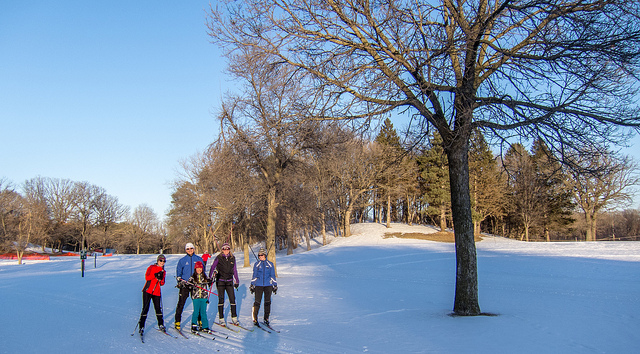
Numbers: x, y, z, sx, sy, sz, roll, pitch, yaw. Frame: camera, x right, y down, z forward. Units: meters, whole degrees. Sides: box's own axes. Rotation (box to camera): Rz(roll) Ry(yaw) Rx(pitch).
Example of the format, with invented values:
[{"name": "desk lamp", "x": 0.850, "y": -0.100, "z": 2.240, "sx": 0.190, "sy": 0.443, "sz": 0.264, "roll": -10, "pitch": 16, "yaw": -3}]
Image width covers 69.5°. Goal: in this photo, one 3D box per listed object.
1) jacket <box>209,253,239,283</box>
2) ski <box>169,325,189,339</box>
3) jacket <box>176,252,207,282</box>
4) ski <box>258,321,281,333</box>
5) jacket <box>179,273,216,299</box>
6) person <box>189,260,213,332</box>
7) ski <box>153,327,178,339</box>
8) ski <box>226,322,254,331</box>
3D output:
[{"name": "jacket", "x": -5.083, "y": 4.829, "z": 24.507, "sx": 1.858, "sy": 1.661, "sz": 0.723, "roll": 7, "pitch": -23, "yaw": -22}, {"name": "ski", "x": -7.216, "y": 7.770, "z": 23.439, "sx": 0.225, "sy": 0.211, "sz": 1.641, "roll": 21, "pitch": 13, "yaw": -49}, {"name": "jacket", "x": -6.820, "y": 4.571, "z": 24.270, "sx": 1.521, "sy": 1.606, "sz": 0.600, "roll": -1, "pitch": 24, "yaw": -21}, {"name": "ski", "x": -2.638, "y": 7.676, "z": 23.662, "sx": 0.978, "sy": 0.088, "sz": 0.116, "roll": 19, "pitch": 13, "yaw": 21}, {"name": "jacket", "x": -6.397, "y": 5.569, "z": 23.828, "sx": 1.910, "sy": 1.475, "sz": 0.507, "roll": 2, "pitch": -19, "yaw": -23}, {"name": "person", "x": -6.117, "y": 6.032, "z": 23.618, "sx": 1.050, "sy": 3.662, "sz": 0.870, "roll": -2, "pitch": 0, "yaw": -7}, {"name": "ski", "x": -7.788, "y": 7.830, "z": 23.228, "sx": 1.660, "sy": 0.255, "sz": 0.198, "roll": 24, "pitch": 18, "yaw": 28}, {"name": "ski", "x": -4.038, "y": 7.688, "z": 23.735, "sx": 0.956, "sy": 0.137, "sz": 0.104, "roll": 11, "pitch": 4, "yaw": 30}]
